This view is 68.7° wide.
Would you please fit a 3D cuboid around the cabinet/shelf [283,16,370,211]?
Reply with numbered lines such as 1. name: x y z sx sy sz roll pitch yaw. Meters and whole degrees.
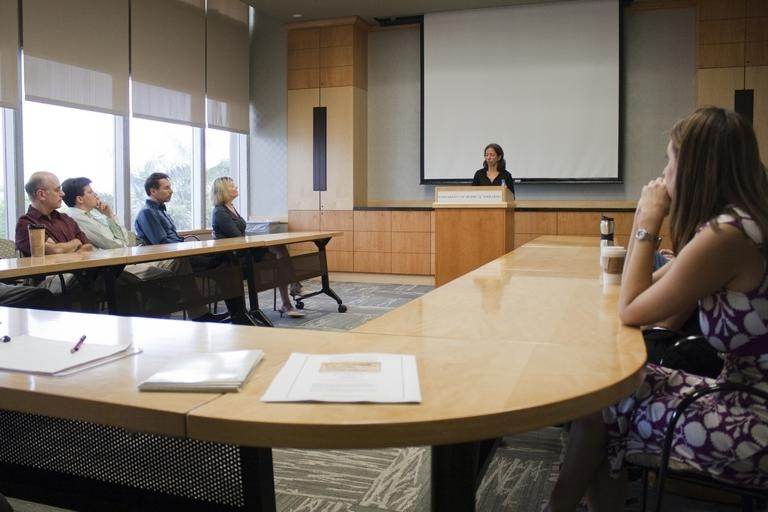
1. cabinet/shelf: -0.862 -1.913 7.774 1.047 2.530 0.580 4 11 28

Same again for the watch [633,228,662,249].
1. watch: 0.856 -0.060 1.846 0.069 0.045 0.074 2 -6 -11
